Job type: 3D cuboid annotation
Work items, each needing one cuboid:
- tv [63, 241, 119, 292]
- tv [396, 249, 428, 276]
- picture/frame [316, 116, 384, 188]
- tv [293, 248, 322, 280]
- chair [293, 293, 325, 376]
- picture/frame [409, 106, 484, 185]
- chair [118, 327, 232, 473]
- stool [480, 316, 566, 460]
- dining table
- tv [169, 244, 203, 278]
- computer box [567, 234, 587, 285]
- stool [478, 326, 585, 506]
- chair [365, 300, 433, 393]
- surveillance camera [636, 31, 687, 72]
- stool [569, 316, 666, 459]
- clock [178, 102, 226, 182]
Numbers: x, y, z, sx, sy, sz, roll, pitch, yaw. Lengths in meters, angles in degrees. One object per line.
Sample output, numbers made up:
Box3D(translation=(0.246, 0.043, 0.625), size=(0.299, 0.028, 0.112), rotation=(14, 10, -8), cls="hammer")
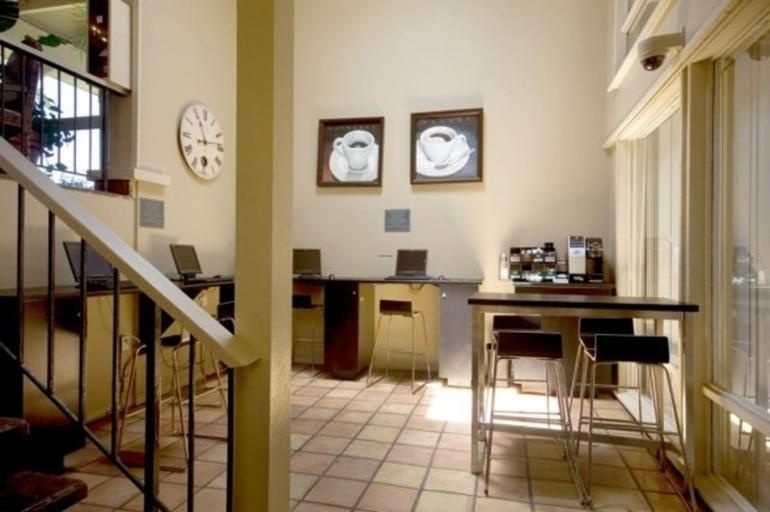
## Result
Box3D(translation=(-2.495, 0.087, 4.900), size=(0.325, 0.427, 0.423), rotation=(-3, -2, 16), cls="tv")
Box3D(translation=(0.330, 0.086, 7.425), size=(0.382, 0.331, 0.324), rotation=(0, -9, 13), cls="tv")
Box3D(translation=(-0.467, -1.386, 7.870), size=(0.955, 0.914, 0.070), rotation=(2, 1, 16), cls="picture/frame")
Box3D(translation=(-0.992, 0.084, 7.779), size=(0.492, 0.507, 0.279), rotation=(1, 0, 2), cls="tv")
Box3D(translation=(-1.081, 1.023, 7.824), size=(0.270, 1.043, 0.467), rotation=(2, 5, 20), cls="chair")
Box3D(translation=(0.845, -1.429, 7.550), size=(0.938, 1.052, 0.071), rotation=(0, -1, 11), cls="picture/frame")
Box3D(translation=(-2.097, 1.380, 5.851), size=(0.902, 1.703, 1.070), rotation=(5, 1, -18), cls="chair")
Box3D(translation=(1.355, 1.286, 5.645), size=(0.892, 1.819, 0.996), rotation=(1, -18, 2), cls="stool")
Box3D(translation=(1.652, 1.271, 5.533), size=(1.837, 1.730, 1.495), rotation=(0, -6, 9), cls="dining table")
Box3D(translation=(-2.256, 0.072, 6.653), size=(0.528, 0.413, 0.084), rotation=(0, 22, 44), cls="tv")
Box3D(translation=(2.310, 0.000, 6.944), size=(0.224, 0.579, 0.218), rotation=(6, 29, 30), cls="computer box")
Box3D(translation=(1.347, 1.356, 5.400), size=(0.727, 1.621, 0.787), rotation=(1, 0, 14), cls="stool")
Box3D(translation=(0.182, 1.053, 7.092), size=(0.640, 1.056, 0.647), rotation=(1, 3, 10), cls="chair")
Box3D(translation=(2.419, -1.743, 5.063), size=(0.392, 0.342, 0.318), rotation=(-4, 4, 23), cls="surveillance camera")
Box3D(translation=(2.057, 1.106, 5.137), size=(0.692, 1.324, 0.764), rotation=(2, 7, 3), cls="stool")
Box3D(translation=(-2.288, -1.399, 7.134), size=(0.121, 0.998, 0.984), rotation=(-2, -5, 19), cls="clock")
